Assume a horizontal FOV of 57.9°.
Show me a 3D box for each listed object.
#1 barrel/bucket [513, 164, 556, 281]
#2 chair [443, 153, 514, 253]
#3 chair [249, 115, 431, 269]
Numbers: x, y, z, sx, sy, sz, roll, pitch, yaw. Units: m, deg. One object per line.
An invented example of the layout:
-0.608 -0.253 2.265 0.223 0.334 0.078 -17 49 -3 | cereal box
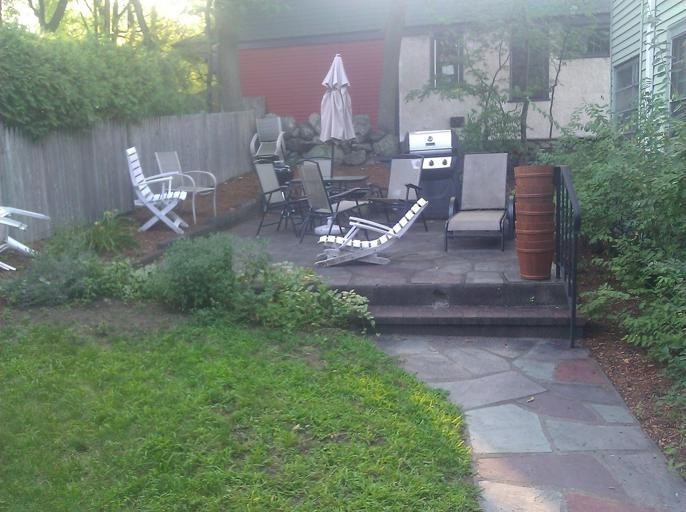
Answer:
2.216 -0.387 7.216 0.465 1.305 0.366 2 17 13 | barrel/bucket
2.121 -0.912 9.477 1.001 1.201 1.903 -1 12 15 | chair
-0.105 -0.633 8.938 2.222 1.441 1.274 -3 10 -21 | chair
